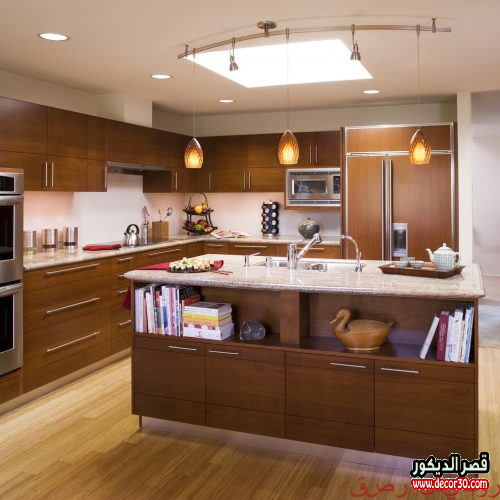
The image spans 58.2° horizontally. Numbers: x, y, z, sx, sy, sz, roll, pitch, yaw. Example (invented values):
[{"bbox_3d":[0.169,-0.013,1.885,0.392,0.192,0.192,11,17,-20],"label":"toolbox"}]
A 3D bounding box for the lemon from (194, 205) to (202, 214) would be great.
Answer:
[{"bbox_3d":[-0.703,-0.545,6.101,0.113,0.120,0.101,-2,4,-11],"label":"lemon"}]

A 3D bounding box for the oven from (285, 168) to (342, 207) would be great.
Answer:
[{"bbox_3d":[0.980,-0.762,5.695,0.510,0.496,0.915,-7,10,-40],"label":"oven"}]

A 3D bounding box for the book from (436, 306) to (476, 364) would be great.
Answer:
[{"bbox_3d":[0.976,0.389,2.138,0.161,0.262,0.124,0,5,20],"label":"book"}]

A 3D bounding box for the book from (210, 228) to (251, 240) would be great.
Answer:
[{"bbox_3d":[-0.272,-0.191,5.901,0.565,0.094,0.524,0,4,10],"label":"book"}]
